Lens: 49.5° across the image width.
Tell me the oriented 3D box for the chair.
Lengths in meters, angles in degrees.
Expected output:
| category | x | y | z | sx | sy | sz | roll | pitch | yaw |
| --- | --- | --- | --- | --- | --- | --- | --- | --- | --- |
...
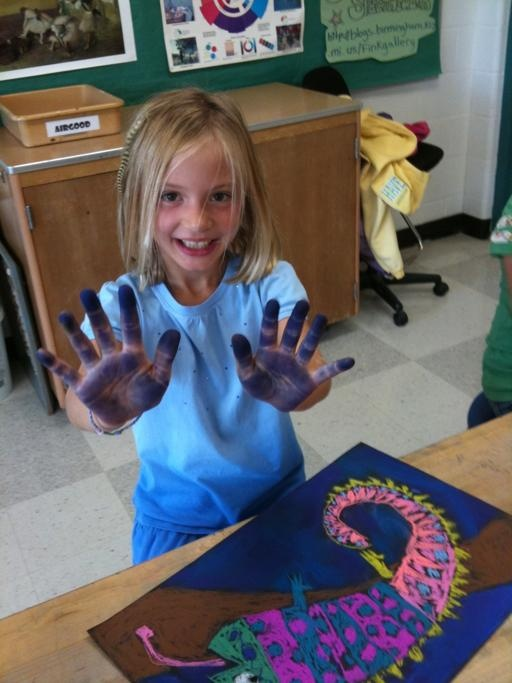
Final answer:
| category | x | y | z | sx | sy | sz | roll | pitch | yaw |
| --- | --- | --- | --- | --- | --- | --- | --- | --- | --- |
| chair | 0.598 | -0.760 | 2.655 | 0.653 | 1.201 | 0.747 | -3 | 26 | 2 |
